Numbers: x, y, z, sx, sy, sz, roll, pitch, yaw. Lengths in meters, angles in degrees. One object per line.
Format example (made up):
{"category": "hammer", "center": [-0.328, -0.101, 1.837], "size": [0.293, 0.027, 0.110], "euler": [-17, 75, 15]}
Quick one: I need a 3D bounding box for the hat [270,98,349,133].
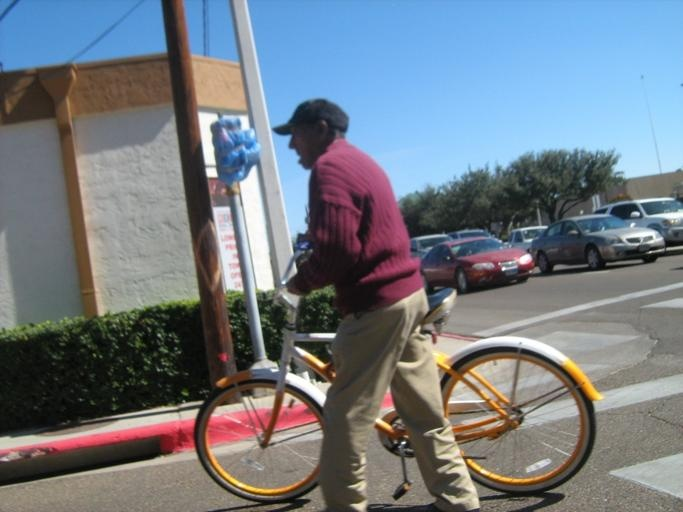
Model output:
{"category": "hat", "center": [-0.212, -0.952, 3.560], "size": [0.489, 0.262, 0.325], "euler": [10, 19, 29]}
